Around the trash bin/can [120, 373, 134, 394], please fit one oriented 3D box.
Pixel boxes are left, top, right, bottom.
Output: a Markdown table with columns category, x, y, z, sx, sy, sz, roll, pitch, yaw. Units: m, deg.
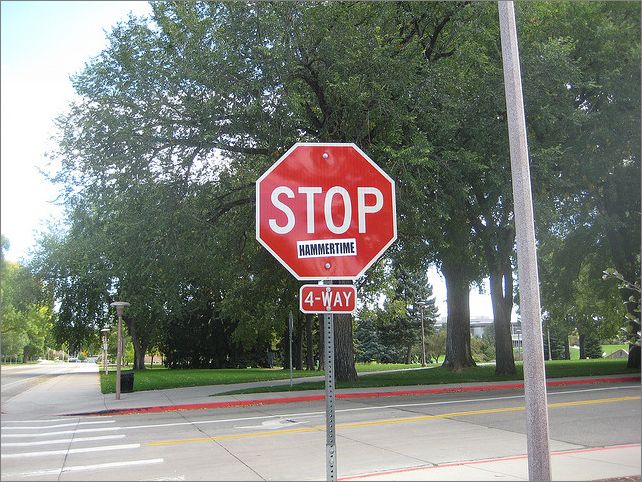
| category | x | y | z | sx | sy | sz | roll | pitch | yaw |
| --- | --- | --- | --- | --- | --- | --- | --- | --- | --- |
| trash bin/can | -8.885 | 6.444 | 26.763 | 0.704 | 0.939 | 0.819 | -1 | -5 | 3 |
